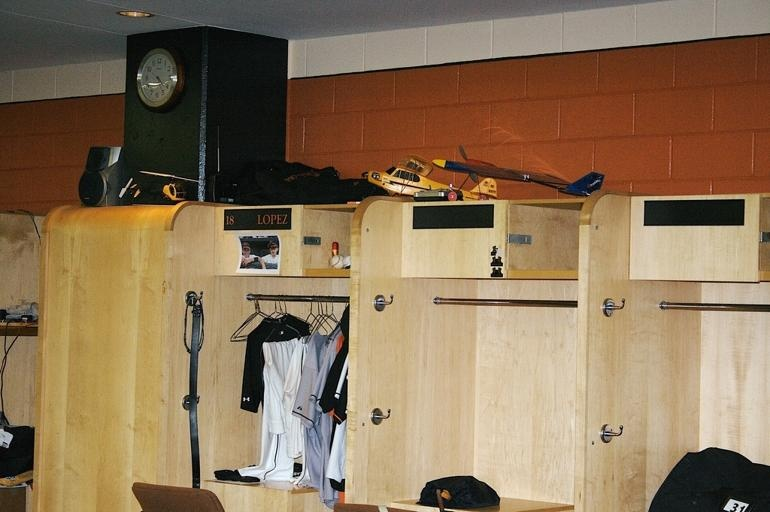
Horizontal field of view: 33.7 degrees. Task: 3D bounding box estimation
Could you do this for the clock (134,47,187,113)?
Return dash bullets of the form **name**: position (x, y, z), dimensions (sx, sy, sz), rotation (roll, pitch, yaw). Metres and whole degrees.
- **clock**: position (-1.600, -1.263, 9.000), dimensions (0.044, 0.446, 0.402), rotation (14, 13, 34)
